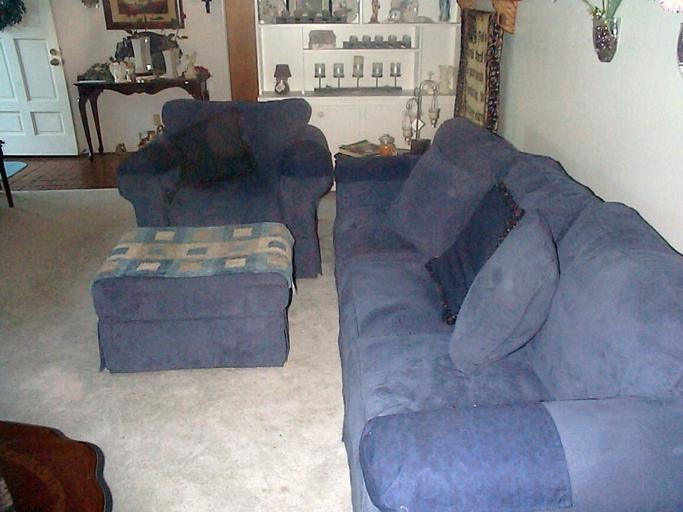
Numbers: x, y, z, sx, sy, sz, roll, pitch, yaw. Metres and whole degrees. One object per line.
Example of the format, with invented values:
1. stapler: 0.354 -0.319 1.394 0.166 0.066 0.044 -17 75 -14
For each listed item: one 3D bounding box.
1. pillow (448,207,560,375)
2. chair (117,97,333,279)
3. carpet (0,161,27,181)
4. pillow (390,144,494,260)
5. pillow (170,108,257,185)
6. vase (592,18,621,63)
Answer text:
1. pillow: 0.565 0.110 1.917 0.145 0.502 0.473 21 58 0
2. chair: -0.611 -0.488 3.603 1.336 1.046 1.044 0 40 0
3. carpet: -2.659 -0.707 4.583 0.163 0.056 0.464 -6 25 -17
4. pillow: 0.442 -0.217 2.605 0.140 0.475 0.451 5 29 -44
5. pillow: -0.753 -0.642 3.382 0.415 0.122 0.434 -15 73 -7
6. vase: 1.015 -0.836 2.191 0.037 0.161 0.097 -32 34 -33
